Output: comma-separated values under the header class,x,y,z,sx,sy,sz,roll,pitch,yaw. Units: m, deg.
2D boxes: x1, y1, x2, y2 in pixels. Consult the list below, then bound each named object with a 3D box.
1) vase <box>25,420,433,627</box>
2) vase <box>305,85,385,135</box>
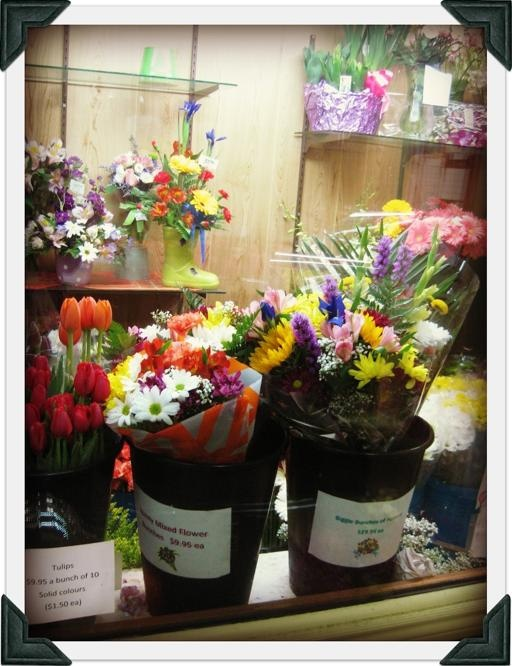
class,x,y,z,sx,sy,sz,roll,pitch,yaw
vase,-0.030,0.258,0.762,0.493,0.173,0.307,-2,2,-6
vase,0.138,-0.348,0.833,0.101,0.048,0.079,11,18,29
